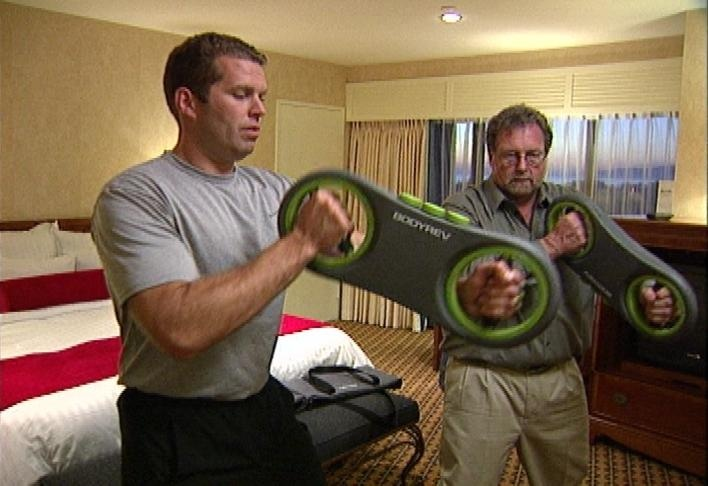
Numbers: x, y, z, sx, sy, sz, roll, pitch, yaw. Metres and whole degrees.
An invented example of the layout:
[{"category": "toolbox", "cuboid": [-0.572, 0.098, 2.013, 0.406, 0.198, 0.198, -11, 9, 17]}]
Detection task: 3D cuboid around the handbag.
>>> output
[{"category": "handbag", "cuboid": [-0.078, 0.875, 3.007, 0.518, 0.130, 0.396, -3, 7, -31]}]
